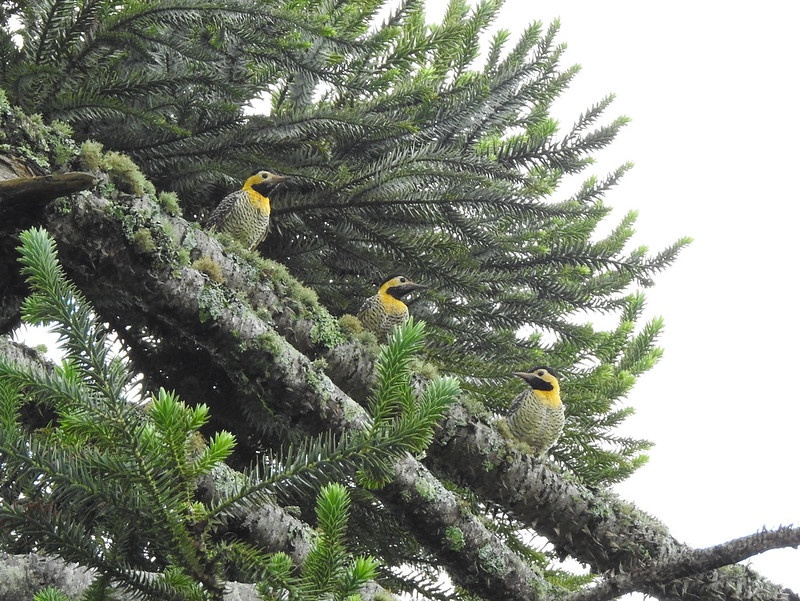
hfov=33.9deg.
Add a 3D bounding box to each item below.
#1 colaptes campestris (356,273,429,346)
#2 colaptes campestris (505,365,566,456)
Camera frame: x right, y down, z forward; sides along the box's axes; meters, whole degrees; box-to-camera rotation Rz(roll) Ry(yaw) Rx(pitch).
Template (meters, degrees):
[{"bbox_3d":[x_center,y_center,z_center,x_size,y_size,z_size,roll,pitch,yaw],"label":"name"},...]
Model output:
[{"bbox_3d":[-0.147,0.058,8.151,0.532,0.449,0.279,8,-4,35],"label":"colaptes campestris"},{"bbox_3d":[0.786,0.681,7.938,0.361,0.599,0.580,6,-5,-10],"label":"colaptes campestris"}]
